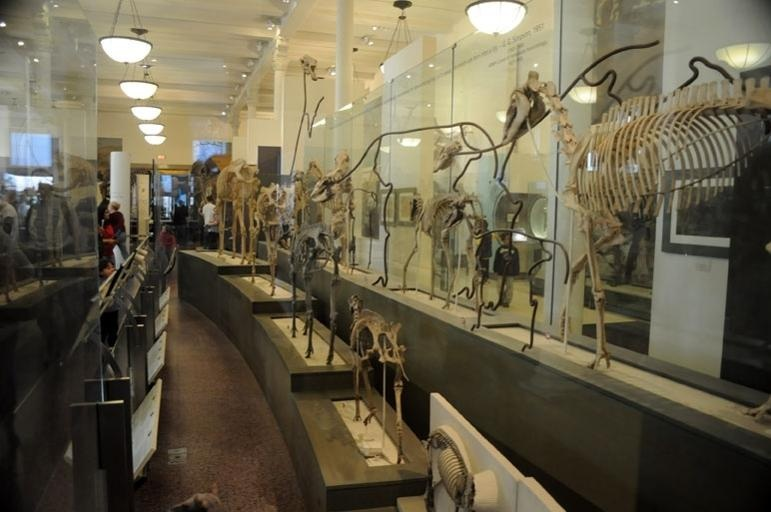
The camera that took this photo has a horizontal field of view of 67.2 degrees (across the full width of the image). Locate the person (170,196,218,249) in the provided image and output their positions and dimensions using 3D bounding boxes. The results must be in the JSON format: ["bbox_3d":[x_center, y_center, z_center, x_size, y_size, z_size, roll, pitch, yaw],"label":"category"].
[{"bbox_3d":[-4.166,-0.701,12.980,1.098,1.351,1.166,0,4,2],"label":"person"}]
